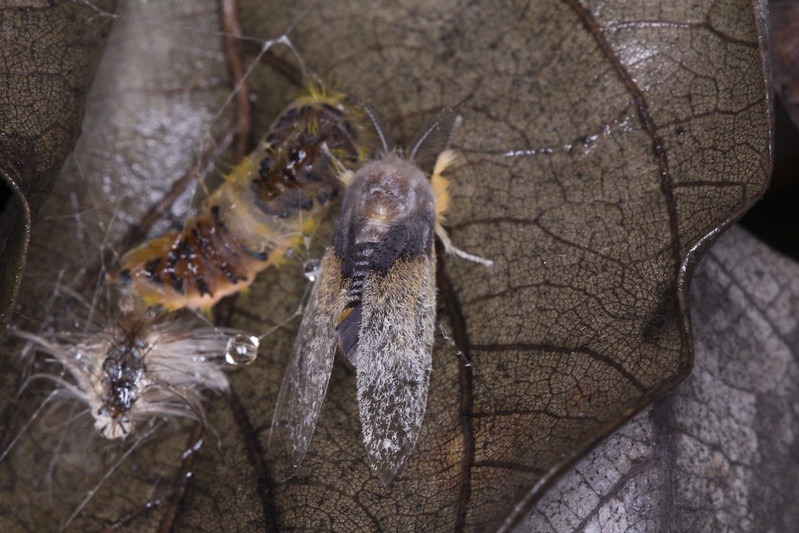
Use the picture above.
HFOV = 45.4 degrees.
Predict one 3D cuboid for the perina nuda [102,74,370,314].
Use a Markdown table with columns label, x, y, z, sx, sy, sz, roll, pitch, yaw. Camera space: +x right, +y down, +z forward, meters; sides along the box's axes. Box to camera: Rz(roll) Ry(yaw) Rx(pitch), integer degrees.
| label | x | y | z | sx | sy | sz | roll | pitch | yaw |
| --- | --- | --- | --- | --- | --- | --- | --- | --- | --- |
| perina nuda | -0.537 | -0.248 | 3.822 | 0.532 | 0.896 | 1.064 | -25 | -3 | -1 |
